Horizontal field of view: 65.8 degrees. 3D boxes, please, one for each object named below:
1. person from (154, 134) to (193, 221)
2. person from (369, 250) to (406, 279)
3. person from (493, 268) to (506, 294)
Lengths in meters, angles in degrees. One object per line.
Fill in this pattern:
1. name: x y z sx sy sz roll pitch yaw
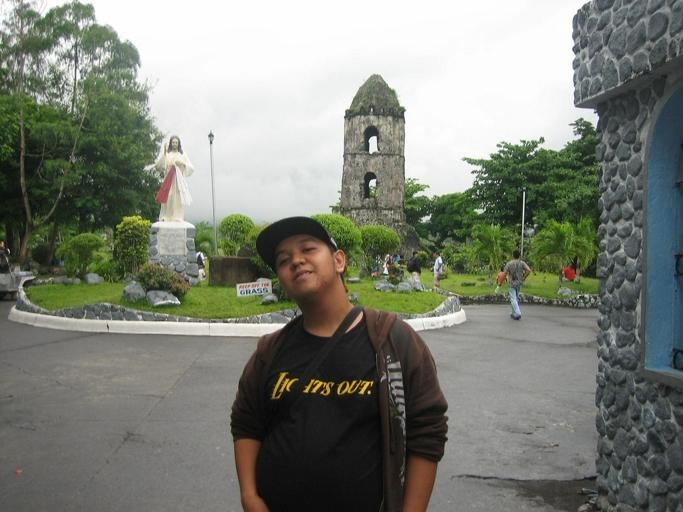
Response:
1. person: -5.659 -2.553 17.777 1.118 2.963 0.882 -1 0 10
2. person: 2.222 0.411 26.711 0.730 1.004 1.895 10 11 20
3. person: 7.447 1.220 24.806 0.812 1.180 0.347 -6 15 -38
